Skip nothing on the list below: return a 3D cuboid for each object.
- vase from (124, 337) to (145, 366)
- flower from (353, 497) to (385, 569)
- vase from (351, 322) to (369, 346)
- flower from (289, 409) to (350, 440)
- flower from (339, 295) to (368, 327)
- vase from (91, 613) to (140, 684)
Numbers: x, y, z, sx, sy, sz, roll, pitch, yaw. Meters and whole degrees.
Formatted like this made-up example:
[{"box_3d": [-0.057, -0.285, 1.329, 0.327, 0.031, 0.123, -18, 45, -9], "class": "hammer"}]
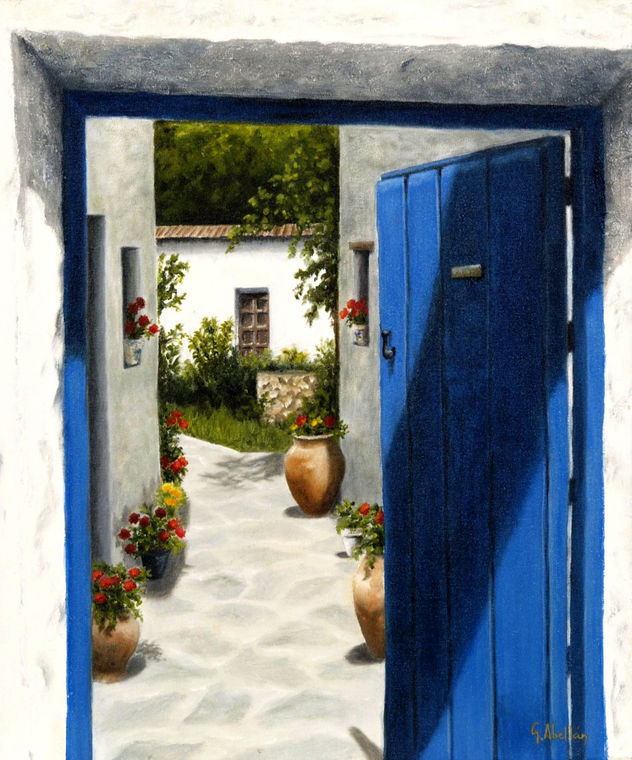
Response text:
[{"box_3d": [-0.851, -0.137, 9.601, 0.075, 0.132, 0.165, 0, -1, -3], "class": "vase"}, {"box_3d": [0.223, 0.610, 8.239, 0.148, 0.258, 0.213, 2, -33, 1], "class": "flower"}, {"box_3d": [0.231, -0.241, 10.484, 0.082, 0.121, 0.093, 0, 3, 1], "class": "vase"}, {"box_3d": [0.020, 0.238, 11.292, 0.303, 0.195, 0.537, -9, 8, -1], "class": "flower"}, {"box_3d": [0.210, -0.354, 10.642, 0.115, 0.108, 0.136, 9, -13, -7], "class": "flower"}, {"box_3d": [-0.779, 1.065, 8.162, 0.177, 0.235, 0.199, 2, 2, 15], "class": "vase"}]
